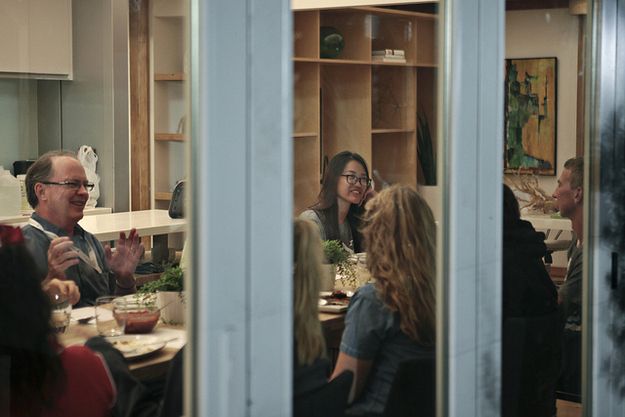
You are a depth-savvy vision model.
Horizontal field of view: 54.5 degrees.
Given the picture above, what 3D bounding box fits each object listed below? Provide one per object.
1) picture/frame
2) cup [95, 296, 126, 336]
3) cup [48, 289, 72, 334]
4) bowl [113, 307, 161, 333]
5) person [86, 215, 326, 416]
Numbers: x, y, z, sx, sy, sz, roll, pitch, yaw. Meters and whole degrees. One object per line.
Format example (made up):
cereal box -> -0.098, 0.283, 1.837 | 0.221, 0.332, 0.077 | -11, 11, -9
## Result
picture/frame -> 0.676, -0.298, 1.897 | 0.375, 0.457, 0.019 | 0, 0, -41
cup -> -0.474, 0.254, 1.461 | 0.080, 0.096, 0.085 | 0, 0, 0
cup -> -0.573, 0.239, 1.395 | 0.075, 0.085, 0.076 | 0, 0, 0
bowl -> -0.422, 0.262, 1.435 | 0.070, 0.034, 0.071 | 1, 0, 0
person -> -0.205, 0.285, 1.635 | 0.453, 0.163, 0.714 | 1, 2, 25
